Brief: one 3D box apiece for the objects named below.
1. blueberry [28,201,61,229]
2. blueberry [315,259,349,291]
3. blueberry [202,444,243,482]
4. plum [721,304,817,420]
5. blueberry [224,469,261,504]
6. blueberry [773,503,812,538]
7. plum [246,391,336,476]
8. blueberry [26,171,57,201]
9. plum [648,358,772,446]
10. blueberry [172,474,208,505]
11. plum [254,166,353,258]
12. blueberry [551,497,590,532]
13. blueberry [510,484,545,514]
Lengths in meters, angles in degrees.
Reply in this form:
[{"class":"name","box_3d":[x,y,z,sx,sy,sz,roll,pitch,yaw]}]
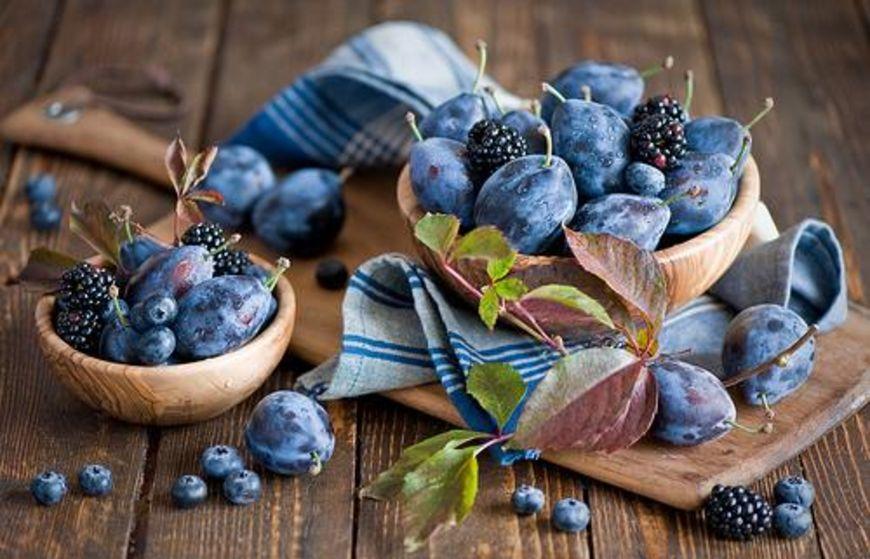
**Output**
[{"class":"blueberry","box_3d":[-0.876,-0.138,2.103,0.058,0.034,0.064,-8,75,-13]},{"class":"blueberry","box_3d":[-0.216,-0.008,1.956,0.061,0.062,0.060,-4,25,-32]},{"class":"blueberry","box_3d":[-0.371,0.313,1.616,0.055,0.036,0.060,5,35,2]},{"class":"plum","box_3d":[0.600,0.125,1.741,0.142,0.157,0.192,31,67,21]},{"class":"blueberry","box_3d":[-0.327,0.351,1.591,0.052,0.059,0.055,-7,6,-9]},{"class":"blueberry","box_3d":[0.593,0.401,1.562,0.052,0.059,0.056,3,26,19]},{"class":"plum","box_3d":[-0.255,0.269,1.663,0.115,0.119,0.148,-33,42,-27]},{"class":"blueberry","box_3d":[-0.916,-0.216,2.179,0.051,0.062,0.069,-5,-1,-1]},{"class":"plum","box_3d":[0.437,0.217,1.632,0.147,0.108,0.100,14,45,-7]},{"class":"blueberry","box_3d":[-0.418,0.357,1.590,0.046,0.037,0.049,2,15,10]},{"class":"plum","box_3d":[-0.291,-0.145,2.086,0.151,0.200,0.155,37,24,-33]},{"class":"blueberry","box_3d":[0.226,0.394,1.577,0.051,0.030,0.054,-2,47,3]},{"class":"blueberry","box_3d":[0.155,0.374,1.591,0.044,0.049,0.046,-2,2,4]}]
